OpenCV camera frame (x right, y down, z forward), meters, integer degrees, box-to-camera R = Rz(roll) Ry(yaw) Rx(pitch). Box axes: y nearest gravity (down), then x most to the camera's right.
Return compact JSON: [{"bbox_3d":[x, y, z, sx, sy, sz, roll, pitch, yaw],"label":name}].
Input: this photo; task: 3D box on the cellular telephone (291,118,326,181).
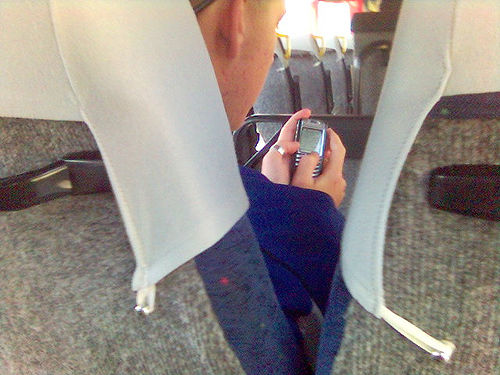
[{"bbox_3d":[0.153,-0.092,0.901,0.084,0.154,0.034,7,-14,-2],"label":"cellular telephone"}]
